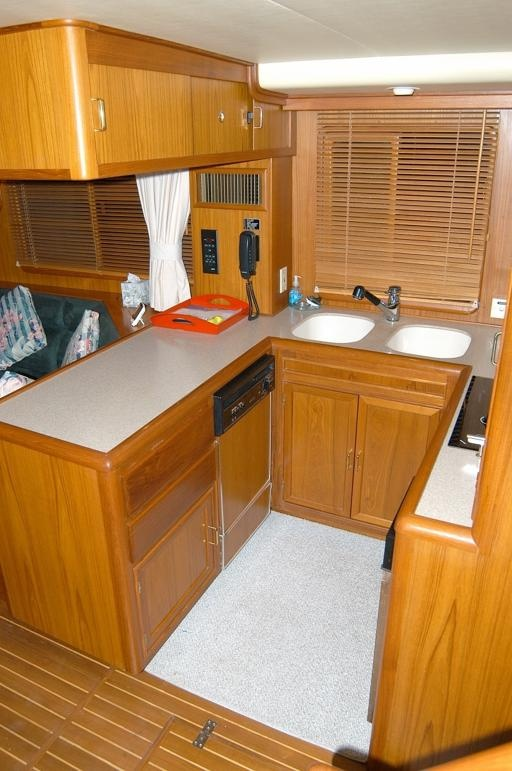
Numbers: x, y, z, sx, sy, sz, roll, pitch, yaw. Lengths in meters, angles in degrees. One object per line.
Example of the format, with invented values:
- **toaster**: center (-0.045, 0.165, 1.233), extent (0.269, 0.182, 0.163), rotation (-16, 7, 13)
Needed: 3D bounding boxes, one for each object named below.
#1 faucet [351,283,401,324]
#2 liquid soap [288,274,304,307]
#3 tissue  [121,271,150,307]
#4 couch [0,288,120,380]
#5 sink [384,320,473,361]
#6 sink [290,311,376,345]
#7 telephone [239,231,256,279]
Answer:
- **faucet**: center (0.598, -0.416, 2.674), extent (0.256, 0.190, 0.139), rotation (-4, 24, -2)
- **liquid soap**: center (0.215, -0.518, 2.950), extent (0.083, 0.147, 0.145), rotation (0, 25, 6)
- **tissue **: center (-0.707, -0.548, 3.103), extent (0.159, 0.181, 0.107), rotation (-9, 25, -14)
- **couch**: center (-1.186, -0.335, 3.341), extent (0.791, 0.561, 0.172), rotation (-9, 3, 19)
- **sink**: center (0.862, -0.227, 2.623), extent (0.285, 0.110, 0.256), rotation (12, 44, 25)
- **sink**: center (0.396, -0.281, 2.805), extent (0.407, 0.168, 0.256), rotation (-3, 25, 0)
- **telephone**: center (-0.041, -0.626, 2.590), extent (0.077, 0.221, 0.045), rotation (7, 16, 34)
